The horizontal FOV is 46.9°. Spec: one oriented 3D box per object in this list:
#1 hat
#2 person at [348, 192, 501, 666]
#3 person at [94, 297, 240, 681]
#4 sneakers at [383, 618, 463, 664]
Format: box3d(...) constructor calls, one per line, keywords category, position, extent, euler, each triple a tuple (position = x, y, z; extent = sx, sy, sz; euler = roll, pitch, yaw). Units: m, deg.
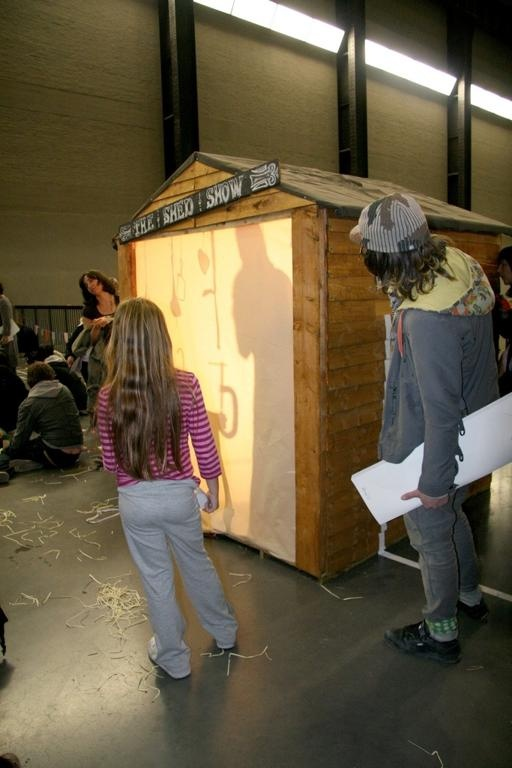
box3d(category="hat", position=(0.445, -0.548, 1.962), extent=(0.179, 0.131, 0.240), euler=(-2, 24, -5))
box3d(category="person", position=(0.626, 0.204, 2.198), extent=(0.426, 1.746, 0.580), euler=(3, 10, 29))
box3d(category="person", position=(-0.314, 0.408, 2.158), extent=(0.458, 1.438, 0.305), euler=(-4, 9, -13))
box3d(category="sneakers", position=(0.649, 1.003, 2.403), extent=(0.320, 0.141, 0.109), euler=(7, 39, 38))
